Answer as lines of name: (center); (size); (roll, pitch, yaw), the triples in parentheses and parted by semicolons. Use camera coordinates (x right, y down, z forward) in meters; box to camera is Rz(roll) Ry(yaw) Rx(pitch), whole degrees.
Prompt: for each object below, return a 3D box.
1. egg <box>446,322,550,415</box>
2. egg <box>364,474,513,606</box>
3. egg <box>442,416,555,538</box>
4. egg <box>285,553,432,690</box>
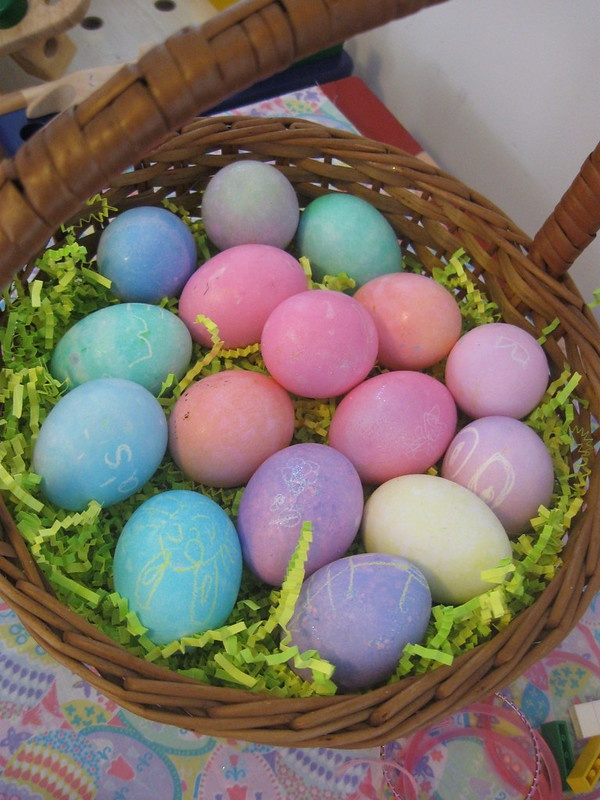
egg: (0.209, -0.035, 0.836); (0.104, 0.100, 0.110); (-2, 94, 10)
egg: (0.126, 0.121, 0.713); (0.133, 0.094, 0.099); (24, 28, 23)
egg: (0.190, 0.046, 0.783); (0.121, 0.130, 0.113); (4, 43, 11)
egg: (0.051, 0.186, 0.666); (0.130, 0.093, 0.091); (-17, 81, -20)
